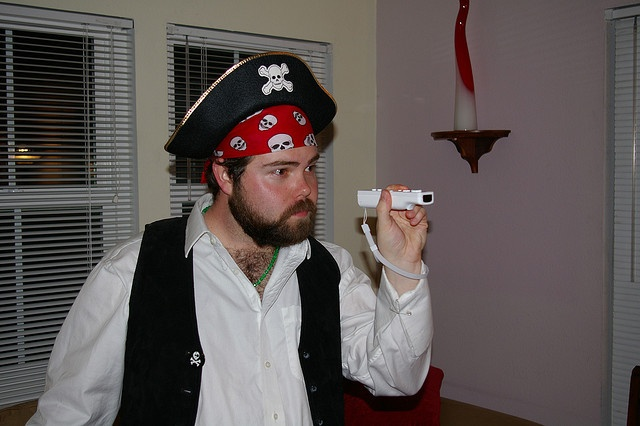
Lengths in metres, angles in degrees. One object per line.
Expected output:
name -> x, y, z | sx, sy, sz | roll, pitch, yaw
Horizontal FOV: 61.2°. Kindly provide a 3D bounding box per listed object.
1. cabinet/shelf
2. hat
cabinet/shelf -> 0.912, -0.410, 3.217 | 0.281, 0.190, 0.293 | -1, -6, 0
hat -> -0.272, -0.283, 2.130 | 0.475, 0.257, 0.474 | -19, -20, 21
